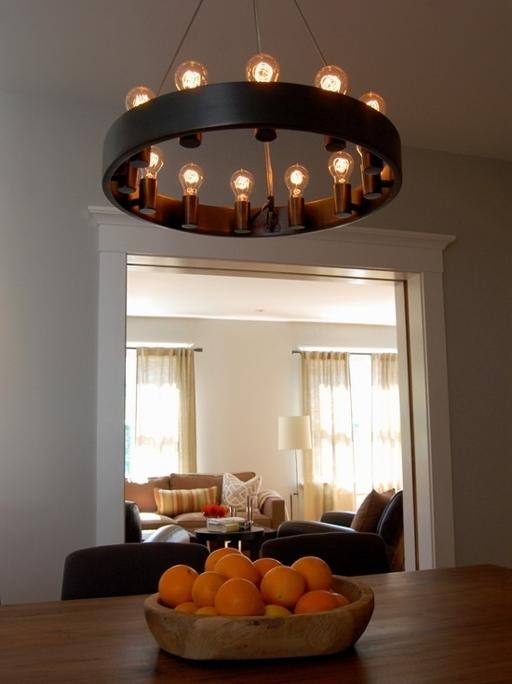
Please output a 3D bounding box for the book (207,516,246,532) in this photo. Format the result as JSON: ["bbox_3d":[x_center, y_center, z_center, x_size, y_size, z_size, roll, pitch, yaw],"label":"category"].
[{"bbox_3d":[-0.229,1.459,5.192,0.280,0.080,0.438,-2,-6,19],"label":"book"}]

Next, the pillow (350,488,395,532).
[{"bbox_3d":[0.842,1.217,4.628,0.203,0.342,0.388,1,-7,31],"label":"pillow"}]

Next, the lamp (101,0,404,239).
[{"bbox_3d":[-0.039,-0.703,1.916,0.680,0.762,0.683,-2,-17,8],"label":"lamp"}]
